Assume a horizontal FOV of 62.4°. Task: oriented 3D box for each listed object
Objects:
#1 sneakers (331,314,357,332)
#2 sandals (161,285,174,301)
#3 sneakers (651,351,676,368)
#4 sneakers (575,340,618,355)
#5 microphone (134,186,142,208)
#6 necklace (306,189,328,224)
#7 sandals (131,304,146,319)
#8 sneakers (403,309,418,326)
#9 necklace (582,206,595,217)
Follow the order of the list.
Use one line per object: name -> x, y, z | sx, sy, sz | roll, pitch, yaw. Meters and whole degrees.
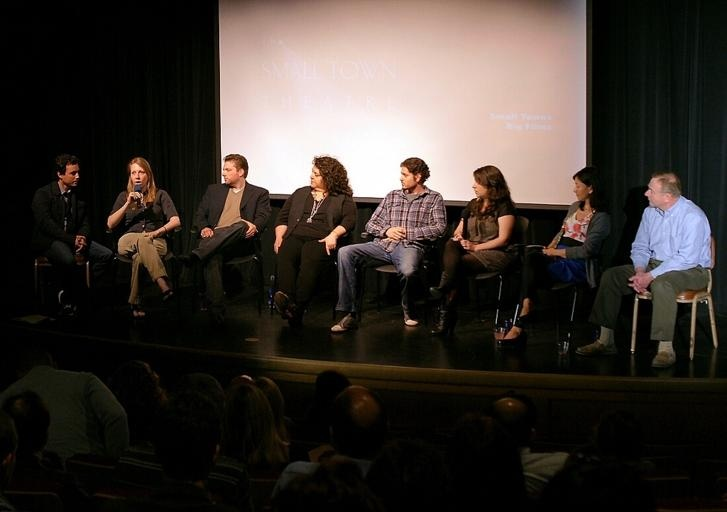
sneakers -> -0.144, 0.509, 4.591 | 0.088, 0.101, 0.246 | 1, 2, 40
sandals -> -1.576, 0.303, 4.808 | 0.054, 0.056, 0.147 | 2, 2, -6
sneakers -> 1.870, 0.639, 3.750 | 0.069, 0.071, 0.188 | -2, 1, 36
sneakers -> 1.561, 0.598, 4.006 | 0.237, 0.103, 0.109 | 0, -2, 6
microphone -> -1.929, -0.511, 5.126 | 0.063, 0.188, 0.152 | -1, 3, -20
necklace -> -0.404, -0.427, 5.116 | 0.108, 0.015, 0.331 | 2, 43, 14
sandals -> -1.817, 0.433, 4.807 | 0.129, 0.100, 0.041 | 9, 9, 27
sneakers -> 0.377, 0.504, 4.764 | 0.058, 0.081, 0.182 | -2, -4, -15
necklace -> 1.746, -0.343, 4.657 | 0.020, 0.070, 0.072 | 22, 29, -43
